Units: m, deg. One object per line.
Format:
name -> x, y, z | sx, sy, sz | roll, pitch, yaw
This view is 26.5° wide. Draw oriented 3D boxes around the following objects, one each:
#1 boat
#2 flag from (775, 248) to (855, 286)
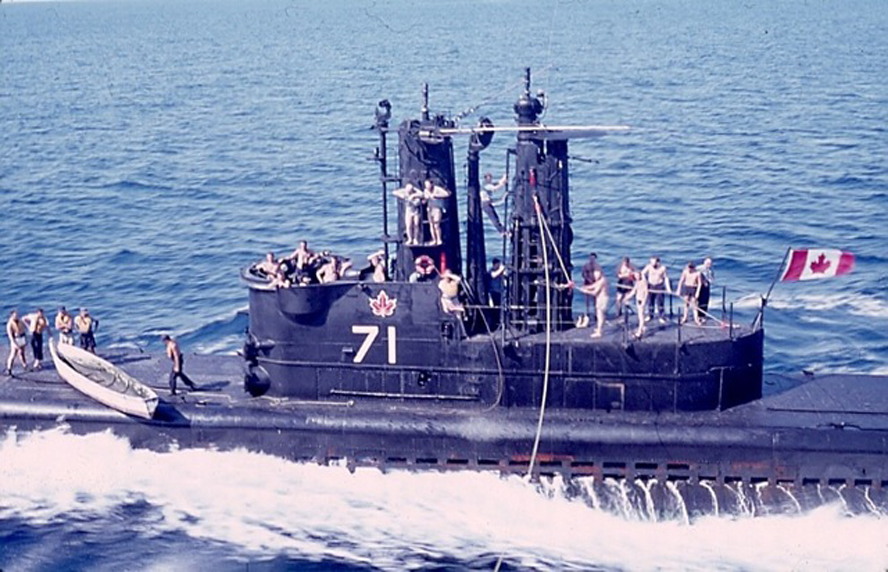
boat -> -22.342, 6.925, 129.744 | 5.237, 6.390, 7.876 | 10, 1, 25
flag -> 24.578, -1.458, 125.154 | 4.365, 1.986, 0.851 | 0, 19, 3
